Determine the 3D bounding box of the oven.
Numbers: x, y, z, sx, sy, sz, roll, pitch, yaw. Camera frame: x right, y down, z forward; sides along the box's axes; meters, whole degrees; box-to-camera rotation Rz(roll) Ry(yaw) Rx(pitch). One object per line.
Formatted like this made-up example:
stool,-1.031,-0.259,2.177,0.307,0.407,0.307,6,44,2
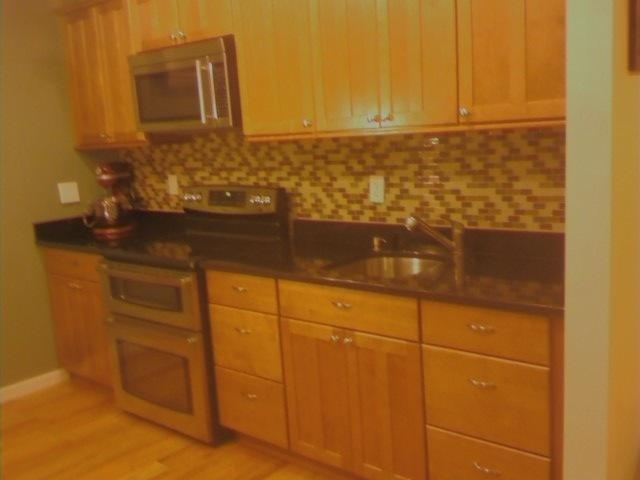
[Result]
oven,-0.713,0.485,2.996,0.646,0.880,0.614,7,18,28

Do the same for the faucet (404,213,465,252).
faucet,0.490,-0.036,2.322,0.205,0.193,0.398,-1,14,15
